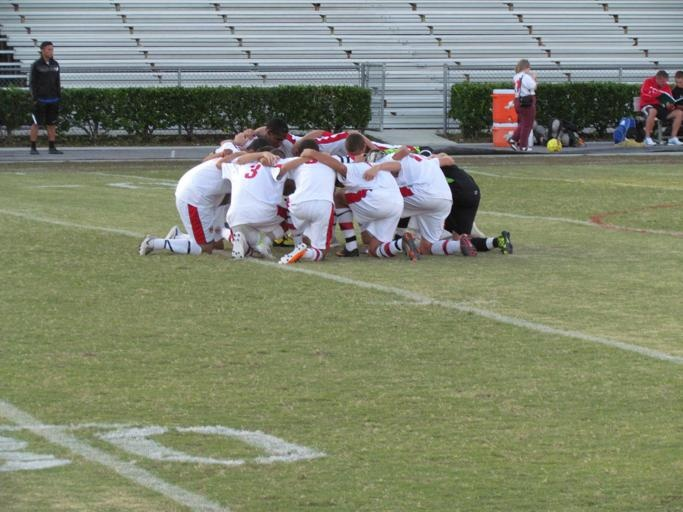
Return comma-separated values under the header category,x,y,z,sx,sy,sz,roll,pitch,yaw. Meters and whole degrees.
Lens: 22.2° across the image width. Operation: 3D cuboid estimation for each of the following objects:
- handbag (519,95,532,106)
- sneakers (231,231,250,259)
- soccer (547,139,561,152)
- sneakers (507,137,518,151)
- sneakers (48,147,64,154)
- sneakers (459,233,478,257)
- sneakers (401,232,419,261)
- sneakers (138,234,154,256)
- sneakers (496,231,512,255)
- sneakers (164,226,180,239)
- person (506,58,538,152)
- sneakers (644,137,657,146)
category,x,y,z,sx,sy,sz,roll,pitch,yaw
handbag,3.942,-3.320,37.171,0.218,0.241,0.295,-5,6,-39
sneakers,-1.471,-0.170,25.036,0.244,0.392,0.205,-1,5,-5
soccer,4.680,-2.453,38.287,0.293,0.274,0.559,0,5,7
sneakers,3.737,-2.434,38.081,0.155,0.340,0.121,-17,-24,7
sneakers,-6.083,-2.239,36.860,0.313,0.162,0.109,0,9,-18
sneakers,1.816,-0.149,25.379,0.180,0.381,0.163,-32,-7,38
sneakers,0.918,-0.155,25.044,0.169,0.430,0.214,-25,3,-29
sneakers,-2.842,-0.171,25.060,0.185,0.126,0.358,2,38,10
sneakers,2.369,-0.189,25.372,0.193,0.392,0.156,-2,51,16
sneakers,-2.487,-0.348,25.345,0.194,0.164,0.429,-1,5,-1
person,3.893,-3.250,37.588,0.576,1.966,1.165,-1,5,5
sneakers,6.918,-2.570,39.029,0.217,0.194,0.521,-3,4,0
